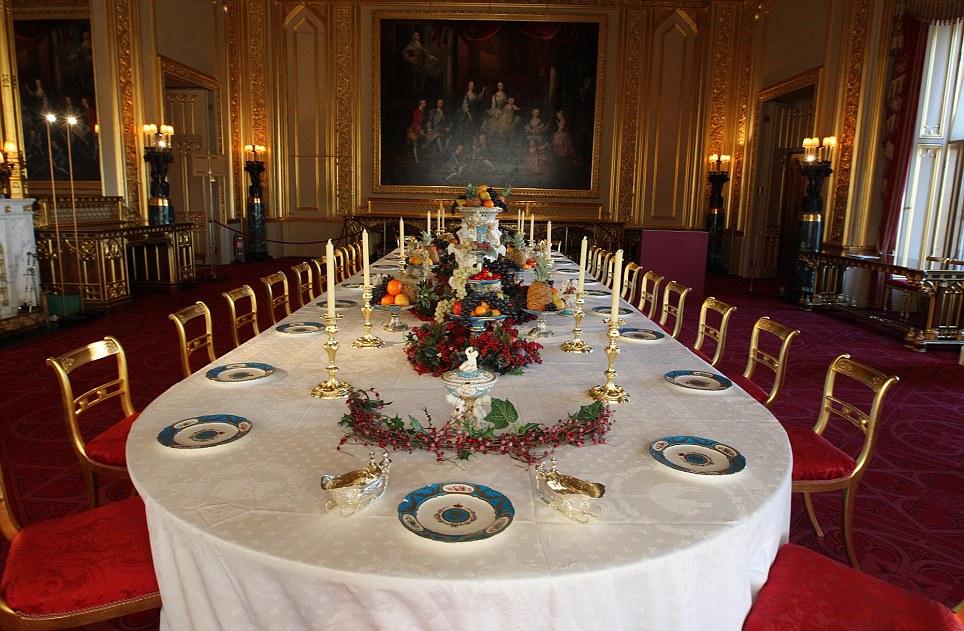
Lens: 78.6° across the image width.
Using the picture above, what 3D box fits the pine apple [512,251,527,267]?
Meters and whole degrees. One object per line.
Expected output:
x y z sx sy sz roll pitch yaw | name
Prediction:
0.268 -0.421 4.477 0.160 0.127 0.132 -5 1 0 | pine apple

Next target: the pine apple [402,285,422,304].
-0.422 -0.138 3.581 0.115 0.080 0.111 8 49 -1 | pine apple

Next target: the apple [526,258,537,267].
0.390 -0.416 4.716 0.083 0.037 0.092 3 9 8 | apple

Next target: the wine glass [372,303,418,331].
-0.543 0.017 3.661 0.252 0.066 0.206 1 8 -1 | wine glass

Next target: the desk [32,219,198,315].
-4.677 -0.603 7.467 0.991 0.696 1.693 0 10 -2 | desk

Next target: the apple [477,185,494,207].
0.042 -0.981 4.834 0.144 0.093 0.275 0 25 -6 | apple

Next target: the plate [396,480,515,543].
-0.081 0.609 1.827 0.350 0.078 0.235 0 12 -3 | plate

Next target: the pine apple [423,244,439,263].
-0.328 -0.415 3.869 0.155 0.075 0.146 3 27 -6 | pine apple

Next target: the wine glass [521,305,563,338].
0.352 0.042 3.542 0.230 0.101 0.188 1 7 3 | wine glass

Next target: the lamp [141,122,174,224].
-4.798 -2.115 8.787 0.446 1.459 0.582 -4 18 -16 | lamp
